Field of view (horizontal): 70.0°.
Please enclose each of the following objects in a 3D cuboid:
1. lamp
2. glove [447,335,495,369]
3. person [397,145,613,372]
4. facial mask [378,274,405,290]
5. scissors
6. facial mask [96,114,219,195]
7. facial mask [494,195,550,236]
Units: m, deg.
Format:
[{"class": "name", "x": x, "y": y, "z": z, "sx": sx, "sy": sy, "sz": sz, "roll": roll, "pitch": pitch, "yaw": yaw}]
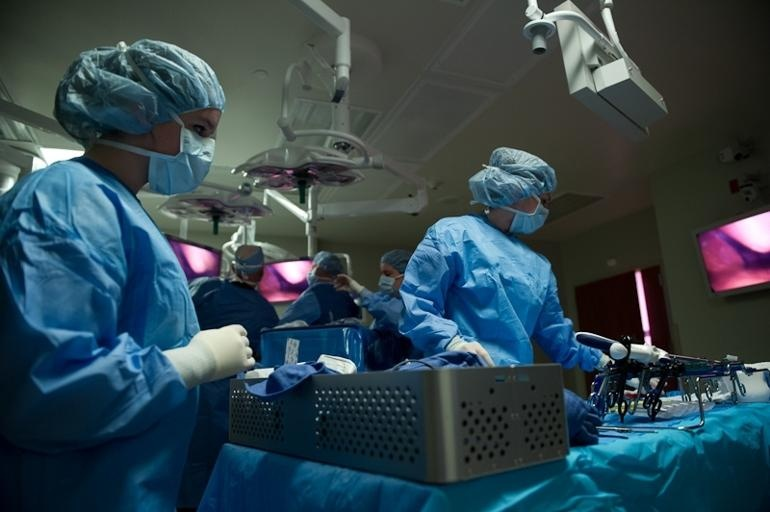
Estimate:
[{"class": "lamp", "x": -0.816, "y": -0.472, "z": 3.643, "sx": 1.157, "sy": 0.299, "sz": 0.790, "roll": -21, "pitch": -20, "yaw": 28}, {"class": "glove", "x": 0.275, "y": 0.311, "z": 1.818, "sx": 0.066, "sy": 0.070, "sz": 0.254, "roll": -25, "pitch": 12, "yaw": -6}, {"class": "person", "x": 0.476, "y": -0.034, "z": 2.232, "sx": 0.826, "sy": 0.946, "sz": 0.368, "roll": 10, "pitch": -15, "yaw": -37}, {"class": "facial mask", "x": 0.039, "y": 0.160, "z": 3.530, "sx": 0.117, "sy": 0.074, "sz": 0.100, "roll": 2, "pitch": -1, "yaw": -14}, {"class": "scissors", "x": 1.135, "y": 0.551, "z": 2.135, "sx": 0.337, "sy": 0.098, "sz": 0.341, "roll": -2, "pitch": -2, "yaw": -19}, {"class": "facial mask", "x": -0.688, "y": -0.317, "z": 1.697, "sx": 0.284, "sy": 0.233, "sz": 0.264, "roll": -4, "pitch": 9, "yaw": -21}, {"class": "facial mask", "x": 0.591, "y": -0.156, "z": 2.415, "sx": 0.182, "sy": 0.159, "sz": 0.185, "roll": -7, "pitch": -2, "yaw": 7}]
